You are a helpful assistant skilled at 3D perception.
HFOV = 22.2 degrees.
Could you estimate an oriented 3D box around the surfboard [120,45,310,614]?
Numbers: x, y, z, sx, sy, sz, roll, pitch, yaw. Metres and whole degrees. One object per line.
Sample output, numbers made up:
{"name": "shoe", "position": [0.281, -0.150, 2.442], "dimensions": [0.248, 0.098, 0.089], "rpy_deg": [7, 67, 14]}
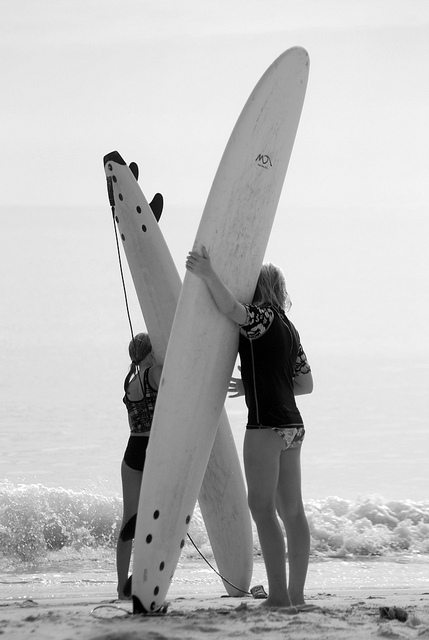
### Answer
{"name": "surfboard", "position": [0.040, -0.030, 7.366], "dimensions": [0.955, 4.007, 0.272], "rpy_deg": [9, -7, -36]}

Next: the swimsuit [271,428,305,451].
{"name": "swimsuit", "position": [0.500, 0.771, 7.163], "dimensions": [0.141, 0.115, 0.149], "rpy_deg": [-16, -6, 35]}

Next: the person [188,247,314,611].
{"name": "person", "position": [0.276, 0.746, 7.189], "dimensions": [0.809, 2.214, 0.261], "rpy_deg": [5, -6, 3]}
